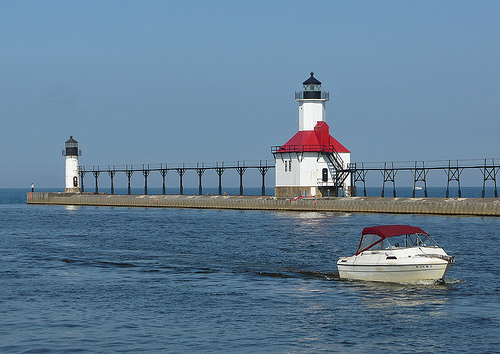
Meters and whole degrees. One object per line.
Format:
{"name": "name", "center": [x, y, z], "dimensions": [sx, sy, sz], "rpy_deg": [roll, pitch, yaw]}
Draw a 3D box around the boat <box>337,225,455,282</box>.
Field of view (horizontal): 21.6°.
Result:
{"name": "boat", "center": [9.546, 5.109, 88.586], "dimensions": [6.834, 3.161, 3.808], "rpy_deg": [-2, -1, 41]}
